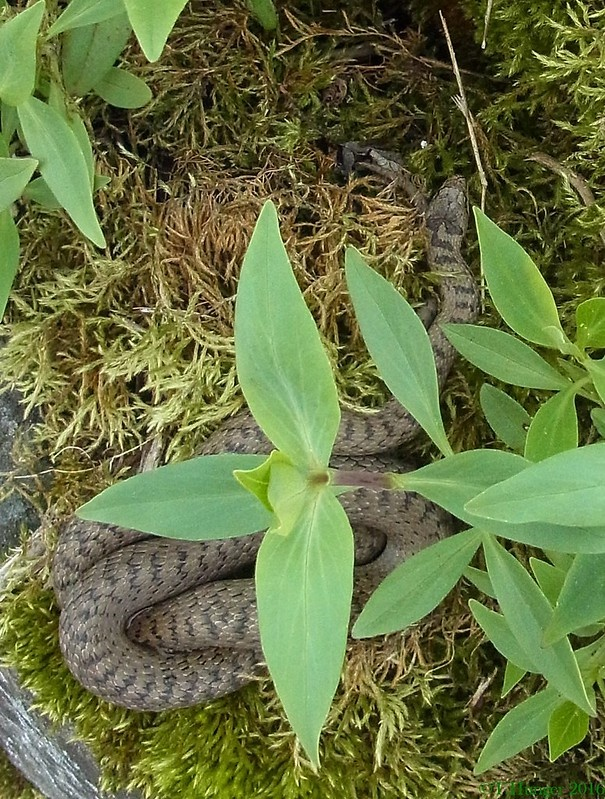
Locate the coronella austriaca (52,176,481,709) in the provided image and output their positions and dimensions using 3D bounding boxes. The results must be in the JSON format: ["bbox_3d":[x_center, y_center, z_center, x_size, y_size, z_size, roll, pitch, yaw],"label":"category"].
[{"bbox_3d":[-0.028,0.287,2.202,1.452,0.284,0.657,-35,78,-6],"label":"coronella austriaca"}]
